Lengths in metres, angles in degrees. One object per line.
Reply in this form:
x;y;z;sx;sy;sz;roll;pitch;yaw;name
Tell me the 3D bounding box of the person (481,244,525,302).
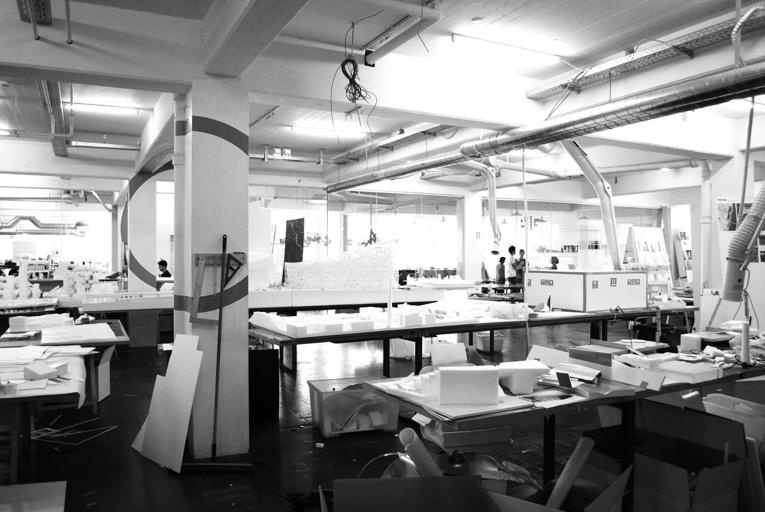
2.866;0.424;13.329;0.701;0.409;1.232;-3;35;15;person
